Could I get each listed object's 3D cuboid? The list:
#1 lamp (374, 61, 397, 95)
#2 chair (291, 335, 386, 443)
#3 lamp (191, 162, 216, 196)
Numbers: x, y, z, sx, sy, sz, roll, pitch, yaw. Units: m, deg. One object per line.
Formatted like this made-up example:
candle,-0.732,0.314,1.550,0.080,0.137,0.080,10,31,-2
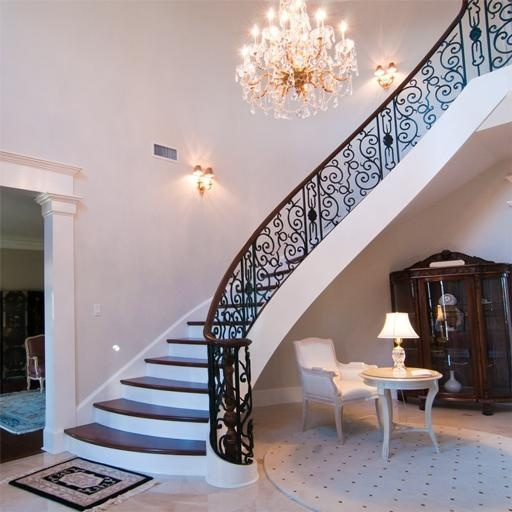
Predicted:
lamp,2.003,-2.841,7.281,0.356,0.435,0.318,-1,-3,17
chair,1.031,1.442,5.454,0.913,1.343,0.906,5,-10,-42
lamp,-0.714,-1.028,6.210,0.186,0.489,0.431,-8,-4,37
